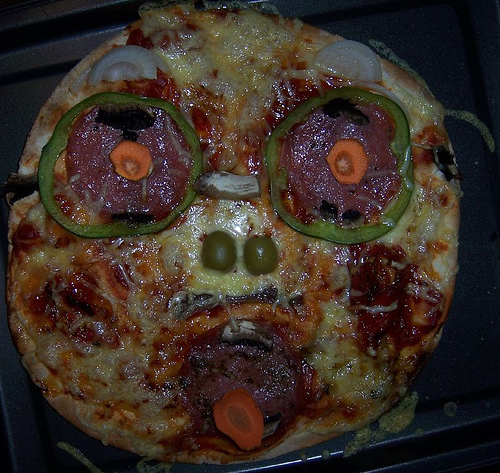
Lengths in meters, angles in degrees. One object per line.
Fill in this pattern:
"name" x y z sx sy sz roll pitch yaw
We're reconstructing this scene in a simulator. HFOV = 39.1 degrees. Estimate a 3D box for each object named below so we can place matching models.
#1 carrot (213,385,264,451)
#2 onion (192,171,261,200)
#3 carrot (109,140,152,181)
"carrot" -0.026 0.789 3.052 0.211 0.260 0.064 -23 12 18
"onion" -0.081 -0.207 3.097 0.339 0.092 0.150 4 22 26
"carrot" -0.504 -0.323 2.999 0.189 0.182 0.044 36 -5 -3
